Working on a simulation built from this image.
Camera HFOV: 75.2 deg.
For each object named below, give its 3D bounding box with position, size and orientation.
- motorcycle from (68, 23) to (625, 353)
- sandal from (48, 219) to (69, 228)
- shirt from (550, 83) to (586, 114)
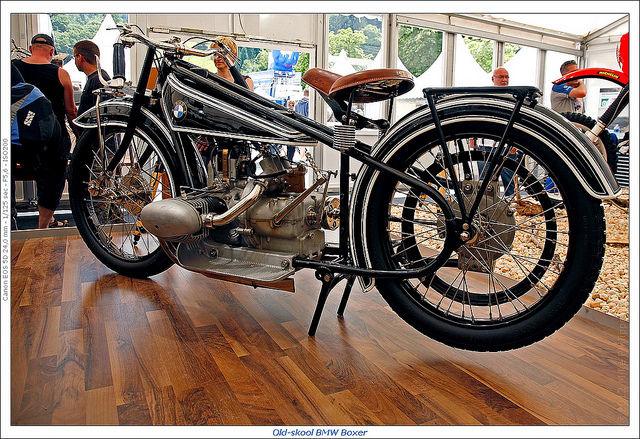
[{"bbox_3d":[-0.262,-0.169,2.037,2.840,1.205,0.798,9,12,22],"label":"motorcycle"},{"bbox_3d":[-2.254,0.031,3.579,0.152,0.056,0.050,1,-2,-35],"label":"sandal"},{"bbox_3d":[2.774,-1.380,4.761,0.212,0.360,0.367,-13,18,15],"label":"shirt"}]
